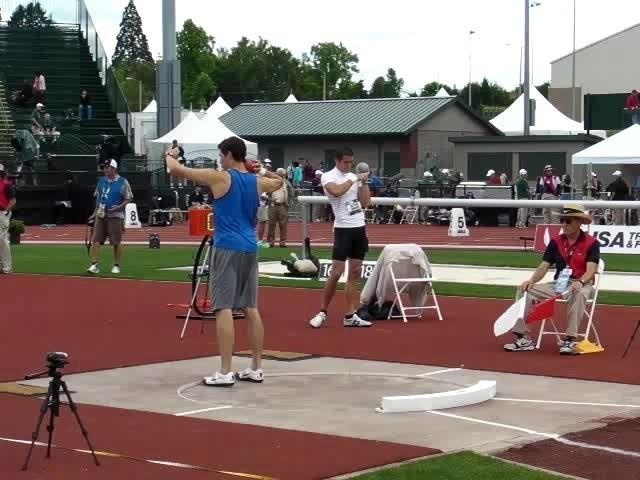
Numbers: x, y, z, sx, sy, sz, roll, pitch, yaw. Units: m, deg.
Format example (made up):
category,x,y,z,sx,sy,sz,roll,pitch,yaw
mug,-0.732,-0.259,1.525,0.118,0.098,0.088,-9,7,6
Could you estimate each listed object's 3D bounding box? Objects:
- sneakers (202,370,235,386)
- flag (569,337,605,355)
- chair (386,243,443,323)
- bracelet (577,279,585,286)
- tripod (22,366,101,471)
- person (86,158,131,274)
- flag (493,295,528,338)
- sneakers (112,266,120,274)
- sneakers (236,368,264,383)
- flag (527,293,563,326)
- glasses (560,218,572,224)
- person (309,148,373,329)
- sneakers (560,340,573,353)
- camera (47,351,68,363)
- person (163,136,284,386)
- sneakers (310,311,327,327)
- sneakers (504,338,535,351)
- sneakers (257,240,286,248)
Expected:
category,x,y,z,sx,sy,sz,roll,pitch,yaw
sneakers,-1.044,1.420,9.545,0.266,0.111,0.144,2,0,6
flag,3.313,1.299,11.366,0.570,0.142,0.310,1,4,-23
chair,1.484,0.705,13.972,0.654,0.912,0.751,6,-8,4
bracelet,3.182,0.515,11.215,0.057,0.079,0.087,-7,11,-36
tripod,-2.206,1.545,7.866,0.730,0.936,0.644,-1,-8,10
person,-4.315,-0.445,18.931,0.806,2.393,1.098,1,4,-15
flag,2.317,1.007,11.468,0.109,0.234,0.702,-1,-39,-34
sneakers,-4.300,0.631,19.447,0.106,0.110,0.263,-1,-2,-3
sneakers,-0.719,1.425,9.771,0.329,0.129,0.120,3,2,38
flag,2.739,0.893,11.266,0.463,0.127,0.264,-33,13,5
glasses,3.070,-0.239,11.476,0.085,0.086,0.035,-4,4,36
person,0.356,0.004,12.939,0.700,2.506,0.802,5,5,27
sneakers,3.021,1.288,11.232,0.174,0.163,0.275,3,4,14
camera,-1.983,0.894,6.990,0.125,0.092,0.178,2,4,-8
person,-0.959,0.194,9.799,1.065,2.574,0.918,2,4,-3
sneakers,-0.018,1.119,13.098,0.124,0.135,0.320,25,10,12
sneakers,2.506,1.303,11.525,0.414,0.183,0.152,1,-3,-4
sneakers,-1.363,0.127,26.367,0.703,0.274,0.213,-1,2,4
